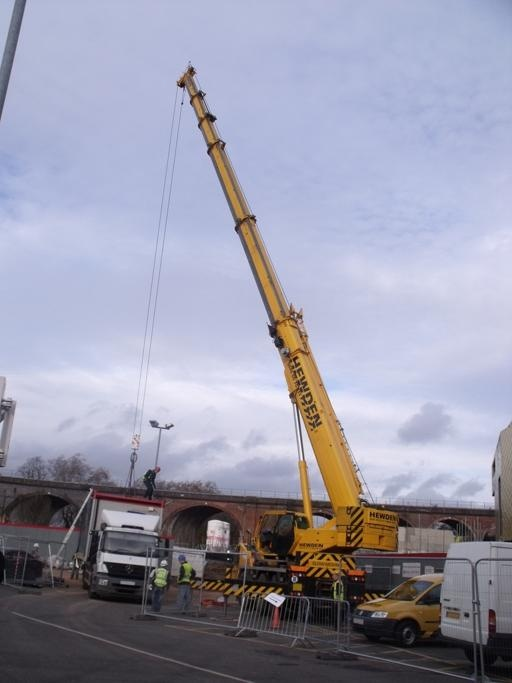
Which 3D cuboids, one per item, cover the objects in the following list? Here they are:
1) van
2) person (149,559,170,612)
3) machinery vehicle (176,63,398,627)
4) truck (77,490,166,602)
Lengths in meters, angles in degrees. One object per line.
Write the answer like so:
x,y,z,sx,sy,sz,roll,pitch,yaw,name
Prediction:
2.902,5.763,13.292,2.500,1.128,1.439,15,-25,-25,van
-2.457,6.336,16.100,0.465,1.290,2.027,7,-18,-7,person
1.032,-0.508,18.321,6.043,15.355,8.351,2,-18,6,machinery vehicle
-3.892,5.914,18.325,2.295,2.797,5.228,7,-32,-13,truck
